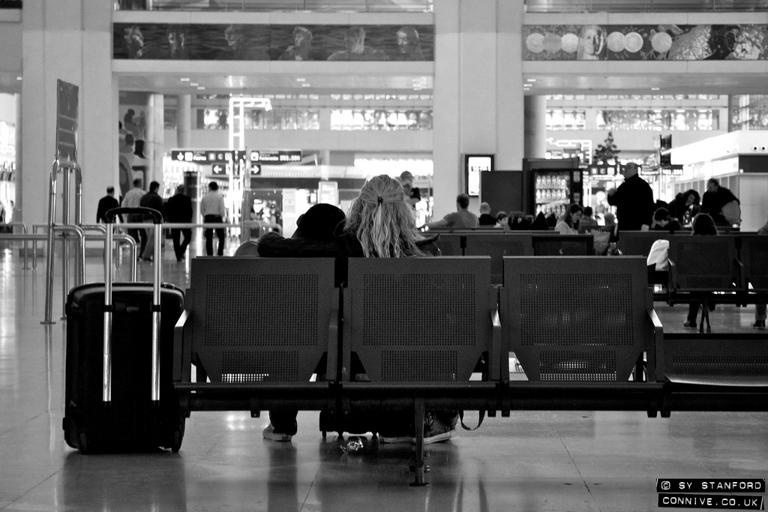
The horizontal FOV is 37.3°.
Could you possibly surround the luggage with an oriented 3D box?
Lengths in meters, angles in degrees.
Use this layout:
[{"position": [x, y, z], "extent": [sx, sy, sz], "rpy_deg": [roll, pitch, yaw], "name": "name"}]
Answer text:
[{"position": [-2.774, 0.804, 12.151], "extent": [1.329, 2.562, 0.703], "rpy_deg": [-1, 13, -2], "name": "luggage"}]
